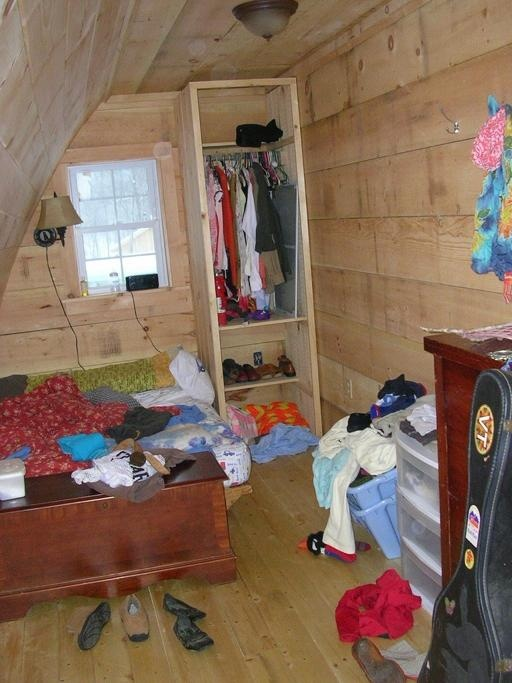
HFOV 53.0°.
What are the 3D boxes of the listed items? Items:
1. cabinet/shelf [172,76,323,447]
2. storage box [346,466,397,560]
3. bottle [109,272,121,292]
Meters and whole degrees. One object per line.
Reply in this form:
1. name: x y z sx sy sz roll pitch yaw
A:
1. cabinet/shelf: -0.050 -0.618 3.747 0.776 2.629 0.860 -8 7 -12
2. storage box: 0.473 0.724 2.053 0.193 0.459 0.261 -5 7 9
3. bottle: -1.143 -0.489 4.160 0.089 0.156 0.037 -8 7 -13
